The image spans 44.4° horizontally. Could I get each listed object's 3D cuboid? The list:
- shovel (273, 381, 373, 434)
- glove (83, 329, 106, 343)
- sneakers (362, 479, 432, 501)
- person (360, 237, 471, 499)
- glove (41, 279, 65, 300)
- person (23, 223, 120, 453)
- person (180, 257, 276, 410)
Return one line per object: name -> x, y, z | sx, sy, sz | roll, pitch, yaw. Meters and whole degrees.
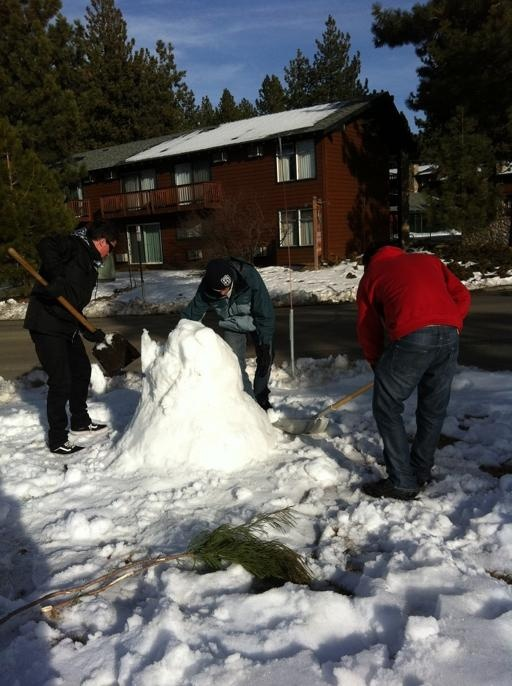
shovel -> 0.460, 0.510, 4.830 | 0.726, 0.398, 0.377 | -1, 14, 14
glove -> -1.377, -0.055, 5.305 | 0.163, 0.052, 0.113 | 15, 1, 8
sneakers -> 0.824, 0.844, 3.691 | 0.361, 0.139, 0.124 | 7, 11, 21
person -> 0.888, 0.171, 3.705 | 0.643, 1.435, 0.608 | -5, 14, 1
glove -> -1.578, -0.396, 4.832 | 0.186, 0.122, 0.067 | -11, 4, 39
person -> -1.530, -0.050, 5.025 | 0.554, 1.718, 1.047 | 0, 15, 20
person -> -0.178, -0.019, 5.325 | 0.614, 1.456, 1.079 | -3, 14, 13
